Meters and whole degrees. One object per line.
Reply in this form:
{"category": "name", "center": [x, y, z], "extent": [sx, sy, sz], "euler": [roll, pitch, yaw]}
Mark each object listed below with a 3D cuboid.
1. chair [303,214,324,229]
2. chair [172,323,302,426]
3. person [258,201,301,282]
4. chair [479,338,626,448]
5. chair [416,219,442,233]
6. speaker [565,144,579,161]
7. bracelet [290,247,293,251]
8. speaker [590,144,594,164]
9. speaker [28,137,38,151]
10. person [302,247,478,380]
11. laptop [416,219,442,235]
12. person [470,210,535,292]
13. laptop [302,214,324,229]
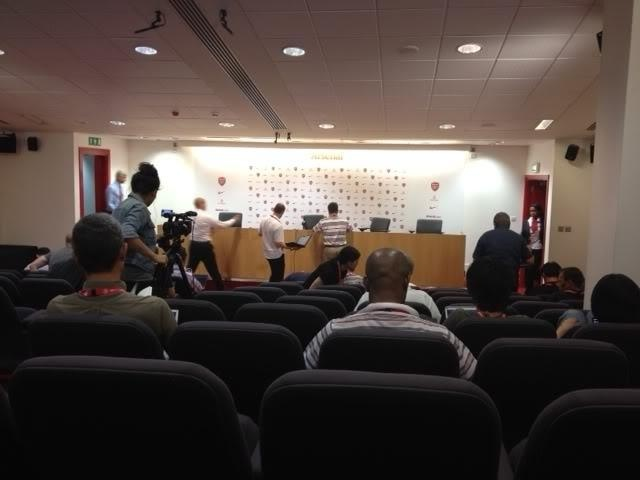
{"category": "chair", "center": [-0.128, -0.384, 9.386], "extent": [0.322, 0.427, 0.320], "euler": [1, -1, -3]}
{"category": "chair", "center": [-0.333, 0.464, 2.043], "extent": [0.437, 0.478, 0.391], "euler": [2, 6, 7]}
{"category": "person", "center": [-0.797, 0.054, 8.118], "extent": [0.487, 1.352, 0.838], "euler": [2, 4, -8]}
{"category": "chair", "center": [0.907, 0.565, 2.003], "extent": [0.377, 0.535, 0.427], "euler": [0, 2, 6]}
{"category": "chair", "center": [2.047, -0.249, 8.968], "extent": [0.459, 0.248, 0.630], "euler": [3, 4, 10]}
{"category": "speaker", "center": [4.727, -1.636, 8.923], "extent": [0.201, 0.362, 0.182], "euler": [13, 19, 23]}
{"category": "bracelet", "center": [-0.496, 0.150, 8.308], "extent": [0.066, 0.079, 0.064], "euler": [4, 19, 8]}
{"category": "speaker", "center": [5.038, -1.599, 8.845], "extent": [0.053, 0.348, 0.167], "euler": [5, 4, 40]}
{"category": "speaker", "center": [-5.937, -1.986, 9.833], "extent": [0.195, 0.315, 0.129], "euler": [2, 3, -2]}
{"category": "person", "center": [0.304, 0.369, 2.276], "extent": [0.888, 0.629, 0.409], "euler": [2, -13, -1]}
{"category": "laptop", "center": [2.063, -0.246, 9.030], "extent": [0.320, 0.411, 0.325], "euler": [1, -6, 17]}
{"category": "person", "center": [2.560, 0.323, 6.809], "extent": [0.718, 1.734, 0.554], "euler": [0, 35, 16]}
{"category": "laptop", "center": [-0.137, -0.330, 9.370], "extent": [0.313, 0.415, 0.316], "euler": [1, -2, -4]}
